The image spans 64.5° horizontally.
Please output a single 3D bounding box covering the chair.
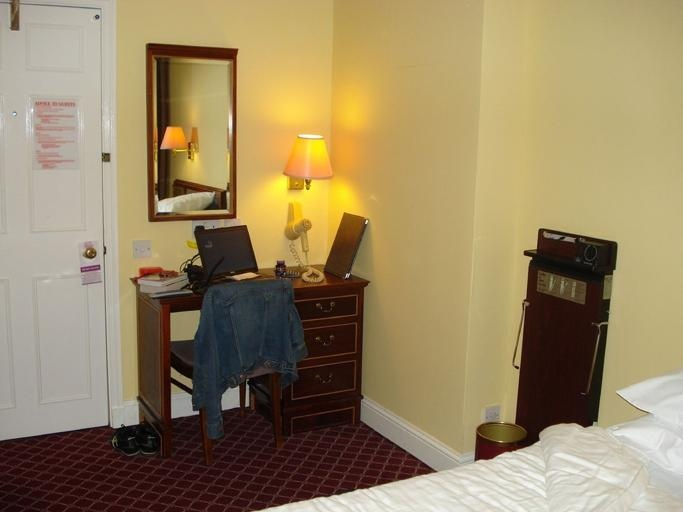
[{"bbox_3d":[-0.689,0.713,3.461,0.883,1.141,0.513,2,13,-2],"label":"chair"}]

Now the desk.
[{"bbox_3d":[-0.612,0.705,3.889,1.444,1.125,0.651,-3,12,-32],"label":"desk"}]

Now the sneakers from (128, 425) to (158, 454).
[{"bbox_3d":[-1.322,1.193,3.529,0.193,0.183,0.117,3,6,32],"label":"sneakers"}]

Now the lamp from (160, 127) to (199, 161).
[{"bbox_3d":[-1.135,-0.768,3.784,0.217,0.217,0.204,-2,5,-42],"label":"lamp"}]

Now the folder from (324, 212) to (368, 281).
[{"bbox_3d":[0.031,-0.079,4.043,0.096,0.443,0.422,17,8,-5],"label":"folder"}]

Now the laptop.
[{"bbox_3d":[-0.819,-0.009,3.731,0.035,0.318,0.348,-21,-7,39],"label":"laptop"}]

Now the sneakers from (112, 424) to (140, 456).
[{"bbox_3d":[-1.416,1.187,3.551,0.114,0.103,0.228,-3,13,-27],"label":"sneakers"}]

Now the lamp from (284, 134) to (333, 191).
[{"bbox_3d":[-0.231,-0.671,4.044,0.361,0.439,0.392,6,17,5],"label":"lamp"}]
